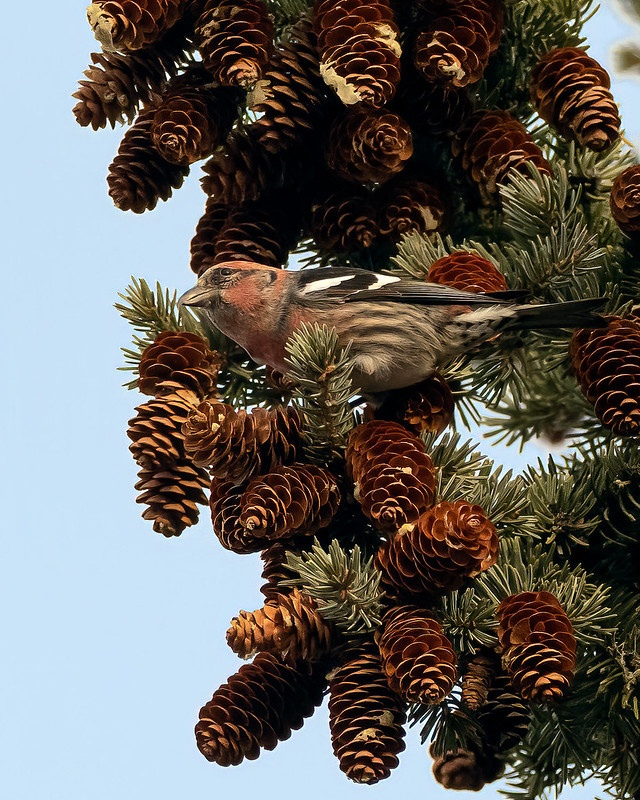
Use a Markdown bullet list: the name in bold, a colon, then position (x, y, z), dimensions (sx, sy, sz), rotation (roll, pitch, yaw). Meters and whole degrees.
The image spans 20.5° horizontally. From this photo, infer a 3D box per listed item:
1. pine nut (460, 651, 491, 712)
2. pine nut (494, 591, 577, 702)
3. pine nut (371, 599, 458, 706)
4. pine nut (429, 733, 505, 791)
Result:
- **pine nut**: position (0.362, 0.679, 4.068), dimensions (0.076, 0.187, 0.114), rotation (-3, -56, 3)
- **pine nut**: position (0.468, 0.528, 3.843), dimensions (0.148, 0.238, 0.151), rotation (-20, -49, 22)
- **pine nut**: position (0.211, 0.554, 3.851), dimensions (0.167, 0.274, 0.126), rotation (0, -55, 1)
- **pine nut**: position (0.359, 0.885, 4.229), dimensions (0.162, 0.073, 0.150), rotation (-29, -61, 18)
